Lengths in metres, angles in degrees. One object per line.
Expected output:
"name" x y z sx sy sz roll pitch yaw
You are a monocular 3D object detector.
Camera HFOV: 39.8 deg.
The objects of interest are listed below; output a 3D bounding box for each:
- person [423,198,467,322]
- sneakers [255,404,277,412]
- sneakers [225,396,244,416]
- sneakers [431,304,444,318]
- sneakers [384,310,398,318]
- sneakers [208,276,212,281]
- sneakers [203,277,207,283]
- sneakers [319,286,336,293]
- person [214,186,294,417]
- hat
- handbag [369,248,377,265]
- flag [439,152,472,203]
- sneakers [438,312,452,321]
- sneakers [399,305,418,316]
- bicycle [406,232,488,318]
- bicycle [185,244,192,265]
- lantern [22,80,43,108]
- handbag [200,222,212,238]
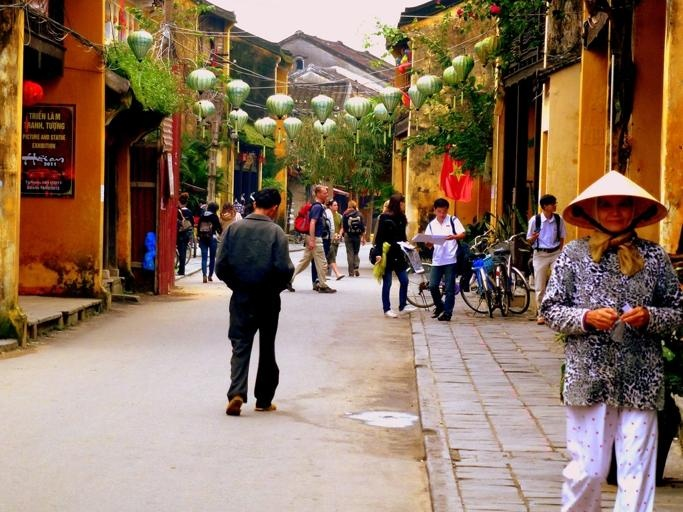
"person" 1.685 0.034 15.197 0.638 1.944 0.821 0 2 7
"sneakers" -0.741 1.472 9.244 0.202 0.091 0.077 -2 0 -5
"sneakers" -1.021 1.413 9.034 0.162 0.187 0.199 -1 2 -10
"sneakers" 1.588 0.888 15.445 0.197 0.238 0.554 -2 -2 12
"sneakers" 0.842 0.951 15.801 0.089 0.108 0.241 -1 -1 -33
"sneakers" -3.039 0.500 21.888 0.091 0.093 0.164 1 11 -1
"sneakers" -3.108 0.523 21.568 0.108 0.186 0.115 -2 2 5
"sneakers" -0.297 0.678 19.692 0.393 0.180 0.137 1 6 1
"person" -0.855 0.399 9.420 0.797 2.195 0.825 -1 2 -22
"hat" 1.811 -0.364 6.183 0.455 0.218 0.470 1 -14 -2
"handbag" 0.530 -0.026 15.994 0.062 0.237 0.164 -1 4 15
"flag" 3.286 -2.290 26.763 0.773 1.315 1.392 -1 2 -9
"sneakers" 1.683 0.956 15.135 0.251 0.187 0.093 4 2 11
"sneakers" 1.152 0.903 15.950 0.318 0.144 0.121 -2 14 5
"bicycle" 2.124 0.337 17.304 2.060 1.303 0.926 1 13 -26
"bicycle" -4.481 -0.066 27.634 0.129 0.544 0.561 10 18 -1
"lantern" -4.712 -2.503 14.367 0.254 0.319 0.624 -1 2 -19
"handbag" -3.061 -0.655 21.570 0.248 0.352 0.334 16 9 15
